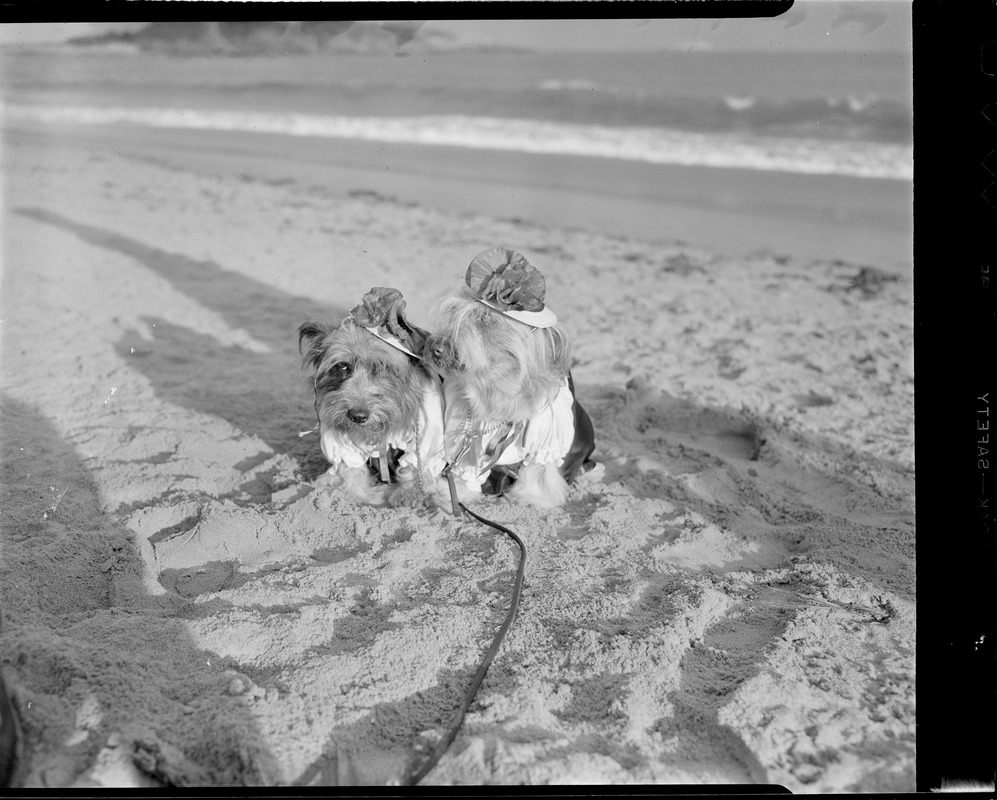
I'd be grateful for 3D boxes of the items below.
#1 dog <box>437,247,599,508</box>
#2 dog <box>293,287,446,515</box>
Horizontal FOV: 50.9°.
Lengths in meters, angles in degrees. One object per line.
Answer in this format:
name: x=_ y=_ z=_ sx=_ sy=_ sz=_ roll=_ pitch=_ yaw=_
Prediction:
dog: x=0.013 y=-0.133 z=5.043 sx=0.927 sy=1.226 sz=0.933 roll=-1 pitch=30 yaw=-3
dog: x=-0.604 y=-0.112 z=5.575 sx=0.706 sy=1.032 sz=1.979 roll=2 pitch=15 yaw=3
